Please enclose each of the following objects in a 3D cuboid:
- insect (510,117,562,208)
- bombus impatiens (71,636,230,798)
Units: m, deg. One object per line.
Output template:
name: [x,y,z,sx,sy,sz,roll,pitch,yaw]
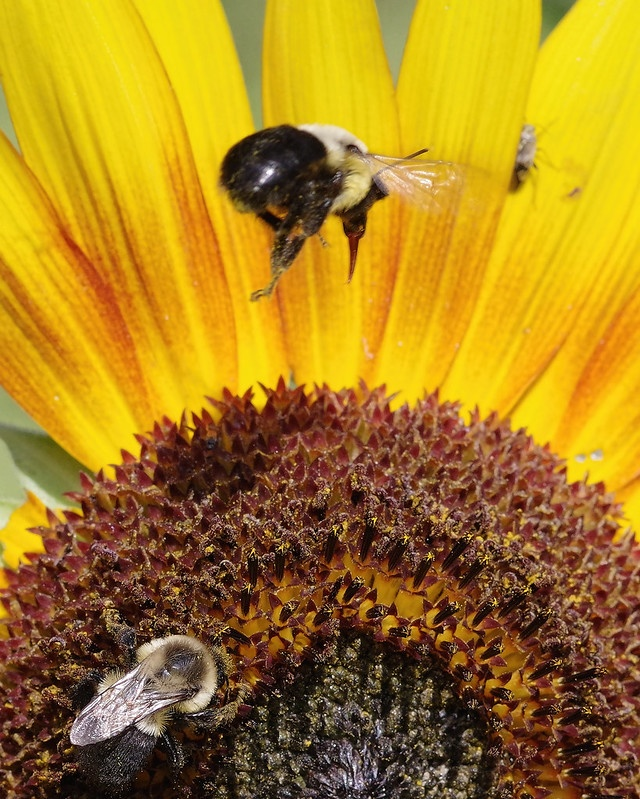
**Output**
insect: [0.475,-0.528,1.879,0.100,0.114,0.036,3,14,-10]
bombus impatiens: [-0.262,0.499,1.389,0.173,0.104,0.261,27,58,19]
